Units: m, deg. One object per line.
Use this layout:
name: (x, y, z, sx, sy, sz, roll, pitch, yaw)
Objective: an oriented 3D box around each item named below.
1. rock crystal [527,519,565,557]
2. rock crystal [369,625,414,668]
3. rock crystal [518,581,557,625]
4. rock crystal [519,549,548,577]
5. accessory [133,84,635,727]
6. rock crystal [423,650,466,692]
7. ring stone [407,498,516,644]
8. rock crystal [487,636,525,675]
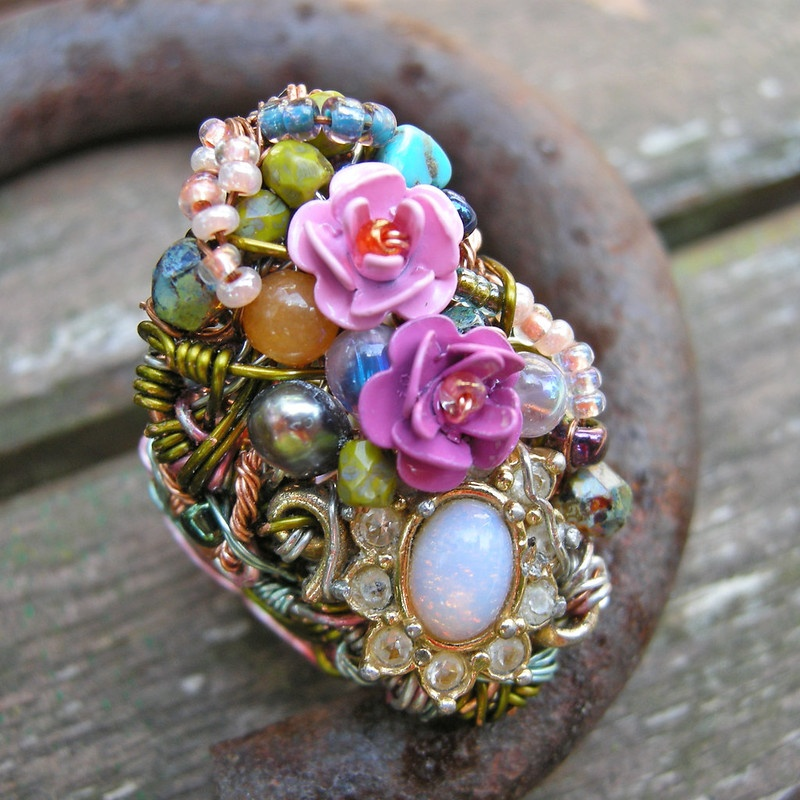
rock crystal: (0.128, 0.118, 1.025, 0.015, 0.030, 0.036, -41, 95, -25)
rock crystal: (-0.009, 0.210, 1.006, 0.045, 0.012, 0.033, -2, 94, -3)
rock crystal: (0.118, 0.173, 1.018, 0.042, 0.010, 0.034, 1, 87, -13)
rock crystal: (0.113, 0.138, 1.018, 0.023, 0.009, 0.024, -11, 92, -26)
accessory: (-0.048, 0.029, 1.161, 0.471, 0.287, 0.555, -27, 99, -11)
rock crystal: (0.037, 0.231, 1.011, 0.041, 0.012, 0.031, -5, 93, -12)
ring stone: (0.055, 0.146, 1.050, 0.108, 0.068, 0.107, 19, 95, 4)
rock crystal: (0.091, 0.219, 1.020, 0.041, 0.011, 0.031, -3, 103, -12)
